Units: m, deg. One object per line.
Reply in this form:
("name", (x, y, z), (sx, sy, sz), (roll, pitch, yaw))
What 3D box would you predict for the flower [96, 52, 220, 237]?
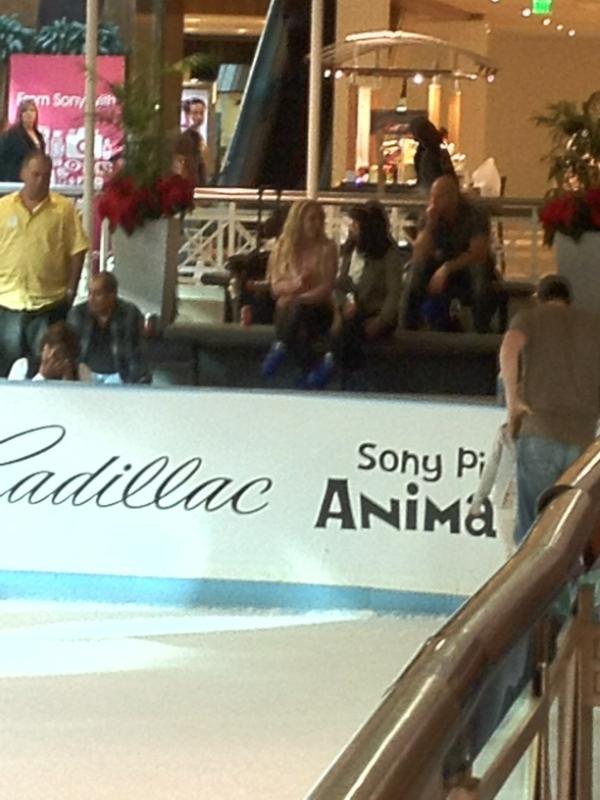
("flower", (-1.148, -1.689, 4.802), (0.781, 1.364, 0.891), (1, 5, 14))
